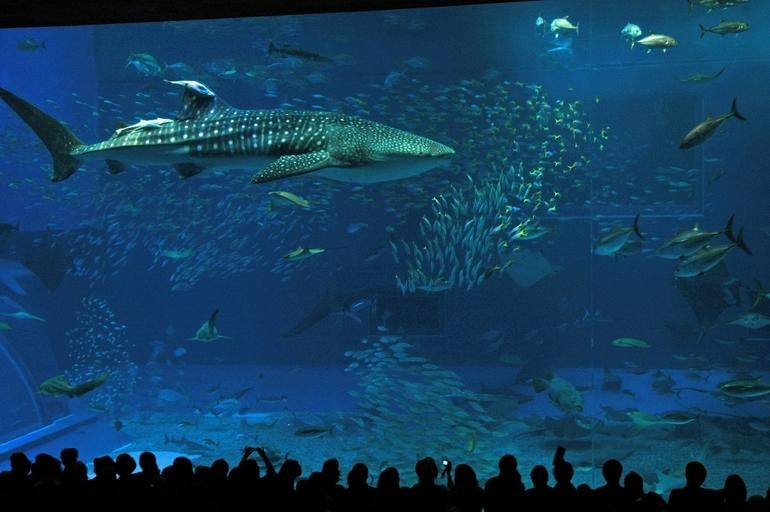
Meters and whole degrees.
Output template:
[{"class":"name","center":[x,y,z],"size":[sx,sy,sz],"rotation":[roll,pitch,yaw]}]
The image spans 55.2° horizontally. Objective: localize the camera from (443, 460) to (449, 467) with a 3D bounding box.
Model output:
[{"class":"camera","center":[1.025,3.559,12.582],"size":[0.177,0.095,0.098],"rotation":[-1,-6,5]}]
